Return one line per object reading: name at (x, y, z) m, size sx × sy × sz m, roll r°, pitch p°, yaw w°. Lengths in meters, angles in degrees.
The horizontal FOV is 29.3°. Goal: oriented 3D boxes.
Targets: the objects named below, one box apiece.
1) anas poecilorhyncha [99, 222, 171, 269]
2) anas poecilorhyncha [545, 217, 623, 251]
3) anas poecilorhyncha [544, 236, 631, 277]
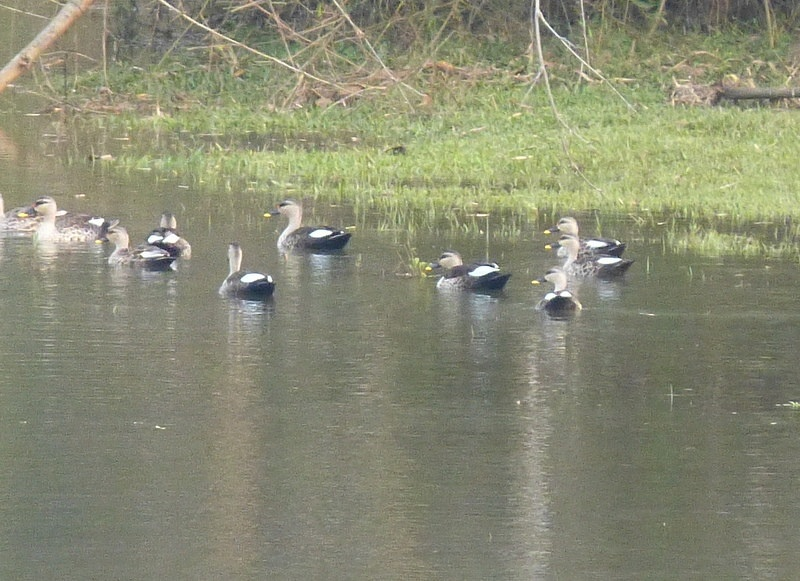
anas poecilorhyncha at (-4.313, -0.699, 24.845) m, size 1.418 × 0.501 × 0.525 m, roll 15°, pitch 15°, yaw 41°
anas poecilorhyncha at (3.026, -0.813, 24.973) m, size 1.509 × 0.664 × 0.375 m, roll 6°, pitch 5°, yaw -16°
anas poecilorhyncha at (3.102, -0.552, 24.627) m, size 1.336 × 0.644 × 0.308 m, roll 7°, pitch 12°, yaw 36°
